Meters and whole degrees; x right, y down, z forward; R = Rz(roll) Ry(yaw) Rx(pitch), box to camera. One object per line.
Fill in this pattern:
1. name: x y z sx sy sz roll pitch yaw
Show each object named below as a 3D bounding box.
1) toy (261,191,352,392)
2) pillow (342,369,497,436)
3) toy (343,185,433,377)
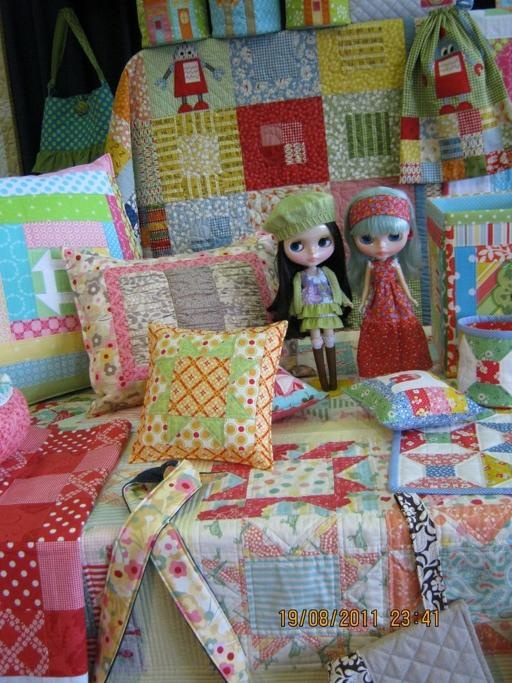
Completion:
1. toy: 0.135 -0.128 1.430 0.199 0.488 0.185 4 22 34
2. pillow: 0.319 0.132 1.148 0.300 0.085 0.176 -1 18 21
3. toy: 0.341 -0.162 1.467 0.192 0.473 0.251 -5 18 11
